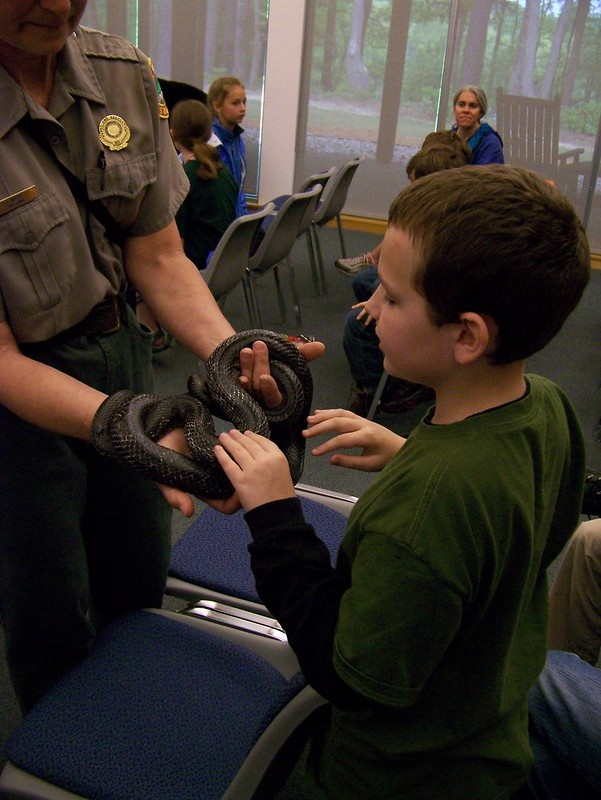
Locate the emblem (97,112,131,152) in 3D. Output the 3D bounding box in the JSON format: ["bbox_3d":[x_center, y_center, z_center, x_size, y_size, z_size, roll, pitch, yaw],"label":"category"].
[{"bbox_3d":[-0.375,-0.537,1.247,0.071,0.072,0.019,-25,6,-36],"label":"emblem"}]

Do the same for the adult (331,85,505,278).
[{"bbox_3d":[1.212,-2.202,6.317,1.841,1.909,1.158,-2,9,-19],"label":"adult"}]

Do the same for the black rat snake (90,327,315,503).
[{"bbox_3d":[-0.188,0.036,1.285,0.332,0.153,0.445,31,31,-5],"label":"black rat snake"}]

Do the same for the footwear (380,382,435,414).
[{"bbox_3d":[0.669,-0.022,4.013,0.213,0.270,0.101,33,4,30],"label":"footwear"}]

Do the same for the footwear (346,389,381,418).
[{"bbox_3d":[0.395,0.013,3.765,0.081,0.259,0.122,22,16,7],"label":"footwear"}]
